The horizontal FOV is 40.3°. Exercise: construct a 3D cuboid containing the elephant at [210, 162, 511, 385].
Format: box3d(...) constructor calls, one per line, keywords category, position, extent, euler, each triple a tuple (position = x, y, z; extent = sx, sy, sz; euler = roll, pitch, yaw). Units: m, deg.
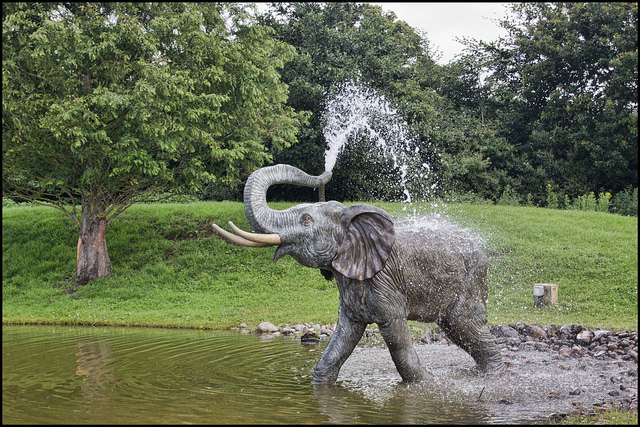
box3d(category="elephant", position=(1.308, 1.851, 24.822), extent=(8.721, 6.300, 3.154), euler=(4, -1, -4))
